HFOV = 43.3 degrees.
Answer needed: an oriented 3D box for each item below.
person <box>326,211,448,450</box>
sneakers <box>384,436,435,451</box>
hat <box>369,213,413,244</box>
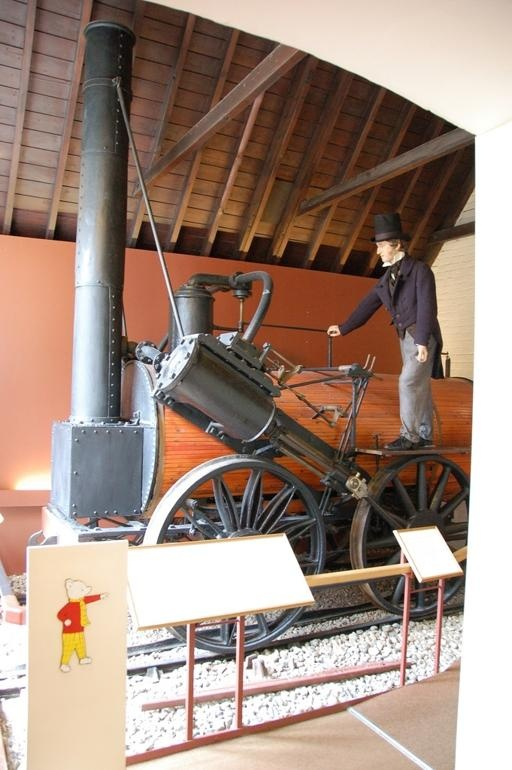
[{"bbox_3d":[0.863,-0.316,3.976,0.493,1.447,0.687,-7,-14,4],"label":"person"},{"bbox_3d":[0.880,0.344,3.750,0.316,0.117,0.102,2,-2,-20],"label":"sneakers"},{"bbox_3d":[0.819,-0.964,4.034,0.255,0.146,0.244,-6,6,-2],"label":"hat"}]
